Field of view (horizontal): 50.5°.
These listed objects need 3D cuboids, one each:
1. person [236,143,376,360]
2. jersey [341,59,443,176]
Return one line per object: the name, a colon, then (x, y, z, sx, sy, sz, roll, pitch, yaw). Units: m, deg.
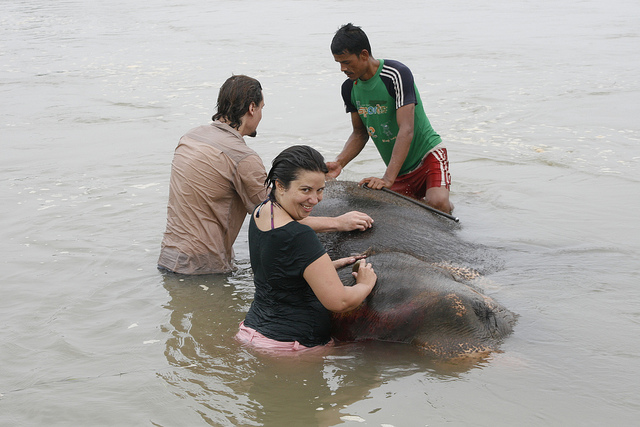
person: (-0.207, 0.446, 6.645, 1.271, 2.054, 1.101, 4, 36, 10)
jersey: (0.978, -1.266, 9.185, 1.336, 1.717, 0.593, 1, 38, 7)
